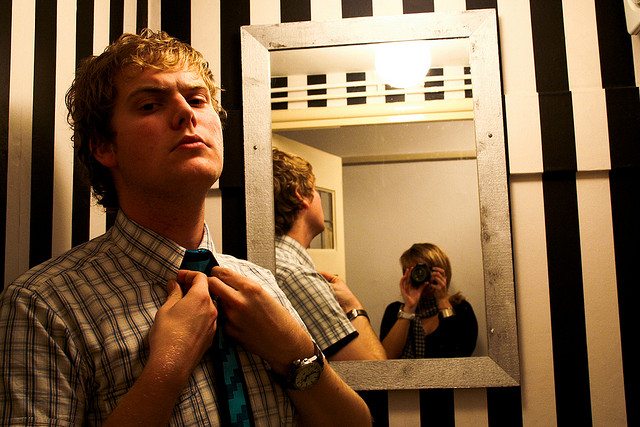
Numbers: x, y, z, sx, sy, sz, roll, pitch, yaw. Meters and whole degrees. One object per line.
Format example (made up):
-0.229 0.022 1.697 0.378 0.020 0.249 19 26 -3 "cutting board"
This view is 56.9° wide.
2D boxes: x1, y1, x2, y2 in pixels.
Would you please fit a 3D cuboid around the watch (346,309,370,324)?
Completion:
0.111 0.302 1.797 0.048 0.033 0.049 -2 -31 21 "watch"

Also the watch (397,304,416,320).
0.264 0.305 1.800 0.043 0.032 0.048 17 -44 -4 "watch"

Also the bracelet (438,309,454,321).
0.387 0.304 1.799 0.031 0.023 0.032 -22 -16 -5 "bracelet"

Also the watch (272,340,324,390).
-0.052 0.373 1.394 0.114 0.072 0.030 1 1 -11 "watch"

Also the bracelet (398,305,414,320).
0.264 0.301 1.802 0.038 0.045 0.028 8 -16 -12 "bracelet"

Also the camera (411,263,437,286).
0.318 0.187 1.829 0.080 0.085 0.061 0 -16 1 "camera"

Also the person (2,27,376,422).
-0.331 0.044 1.510 0.998 1.047 0.478 4 -31 -42 "person"
